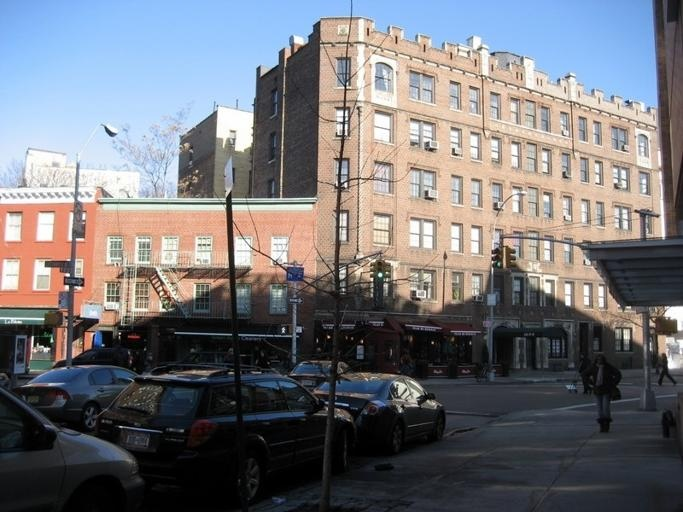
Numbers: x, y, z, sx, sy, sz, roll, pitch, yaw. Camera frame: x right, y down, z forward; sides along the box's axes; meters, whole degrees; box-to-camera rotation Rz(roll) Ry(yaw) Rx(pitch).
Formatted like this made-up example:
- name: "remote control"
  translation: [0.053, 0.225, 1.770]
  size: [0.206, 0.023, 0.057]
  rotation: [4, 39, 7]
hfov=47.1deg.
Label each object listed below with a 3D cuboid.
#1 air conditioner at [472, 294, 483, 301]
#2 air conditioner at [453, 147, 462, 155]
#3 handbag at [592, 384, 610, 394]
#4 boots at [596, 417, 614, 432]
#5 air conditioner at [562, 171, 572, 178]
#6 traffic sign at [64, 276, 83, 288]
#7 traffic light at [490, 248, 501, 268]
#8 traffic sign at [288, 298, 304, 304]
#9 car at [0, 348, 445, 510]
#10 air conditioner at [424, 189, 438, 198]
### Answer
- name: "air conditioner"
  translation: [8.583, 2.767, 49.447]
  size: [0.656, 0.441, 0.362]
  rotation: [4, -10, -25]
- name: "air conditioner"
  translation: [7.287, -6.568, 49.520]
  size: [0.754, 0.507, 0.385]
  rotation: [2, -5, -38]
- name: "handbag"
  translation: [6.864, 3.545, 20.765]
  size: [0.274, 0.209, 0.272]
  rotation: [0, -10, 3]
- name: "boots"
  translation: [6.754, 4.370, 20.166]
  size: [0.376, 0.386, 0.399]
  rotation: [0, -14, 13]
- name: "air conditioner"
  translation: [15.893, -5.745, 55.505]
  size: [0.728, 0.420, 0.500]
  rotation: [4, 0, -32]
- name: "traffic sign"
  translation: [-9.825, 0.914, 28.846]
  size: [0.592, 0.351, 0.668]
  rotation: [1, -9, -8]
- name: "traffic light"
  translation: [6.911, 0.032, 34.899]
  size: [0.358, 0.851, 0.650]
  rotation: [-2, -8, 9]
- name: "traffic sign"
  translation: [-2.015, 1.962, 34.045]
  size: [0.482, 0.239, 0.084]
  rotation: [-25, -34, 25]
- name: "car"
  translation: [-1.537, 3.503, 16.181]
  size: [2.246, 2.525, 6.254]
  rotation: [-7, -11, 38]
- name: "air conditioner"
  translation: [5.427, -3.784, 47.753]
  size: [0.943, 0.481, 0.588]
  rotation: [11, -20, -43]
